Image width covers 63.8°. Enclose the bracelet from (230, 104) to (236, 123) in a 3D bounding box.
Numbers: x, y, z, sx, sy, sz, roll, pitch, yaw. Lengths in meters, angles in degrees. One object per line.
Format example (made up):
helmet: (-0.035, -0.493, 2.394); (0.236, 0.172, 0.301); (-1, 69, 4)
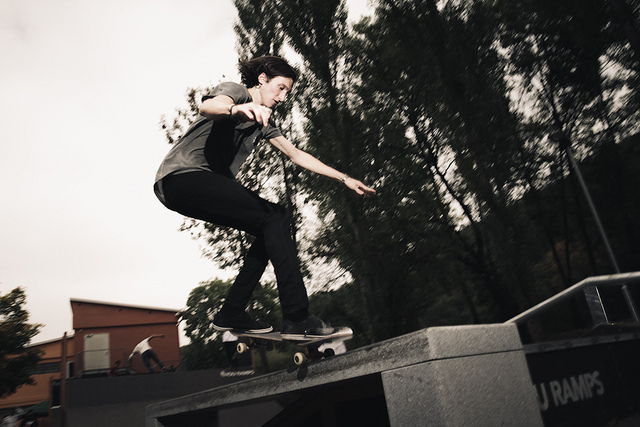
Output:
bracelet: (-1.734, -1.993, 10.188); (0.075, 0.295, 0.291); (6, -57, -16)
